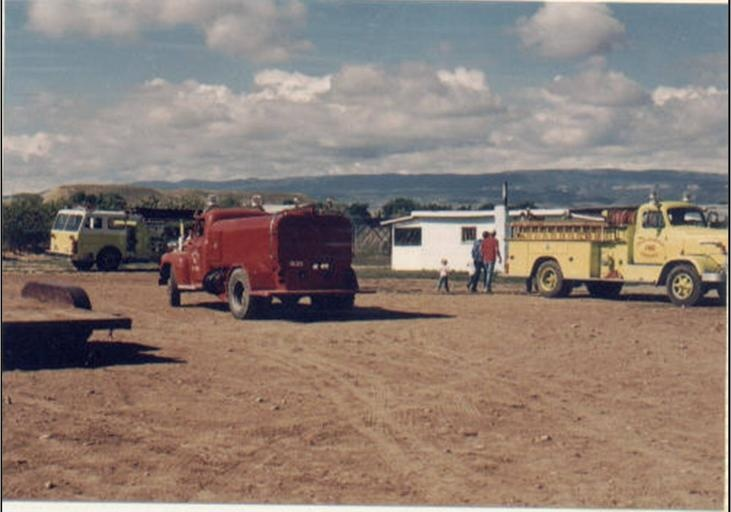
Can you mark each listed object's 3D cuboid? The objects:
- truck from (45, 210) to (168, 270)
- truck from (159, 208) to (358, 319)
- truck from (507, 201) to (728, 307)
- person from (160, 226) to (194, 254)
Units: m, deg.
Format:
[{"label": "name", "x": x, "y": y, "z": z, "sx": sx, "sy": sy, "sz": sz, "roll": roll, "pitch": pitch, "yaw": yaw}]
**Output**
[{"label": "truck", "x": -9.890, "y": -0.583, "z": 35.108, "sx": 4.016, "sy": 2.324, "sz": 2.592, "roll": 1, "pitch": 1, "yaw": -17}, {"label": "truck", "x": -2.513, "y": -0.027, "z": 21.607, "sx": 2.327, "sy": 1.995, "sz": 3.914, "roll": 0, "pitch": 4, "yaw": -40}, {"label": "truck", "x": 7.313, "y": -0.080, "z": 25.466, "sx": 5.799, "sy": 2.784, "sz": 2.618, "roll": -1, "pitch": -1, "yaw": 44}, {"label": "person", "x": -6.224, "y": -0.526, "z": 29.684, "sx": 0.861, "sy": 0.481, "sz": 1.185, "roll": -8, "pitch": 1, "yaw": -39}]
